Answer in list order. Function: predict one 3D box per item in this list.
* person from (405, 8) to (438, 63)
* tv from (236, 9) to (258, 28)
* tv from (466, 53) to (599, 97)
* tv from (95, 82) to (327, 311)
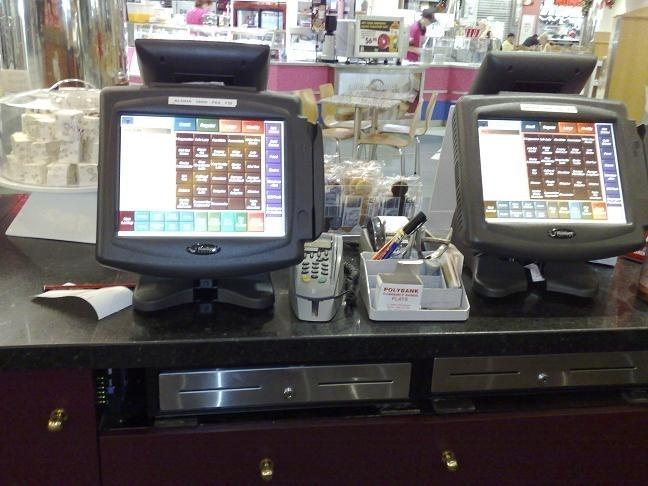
[{"bbox_3d":[1.597,-3.433,8.945,0.325,0.778,1.084,8,24,14],"label":"person"},{"bbox_3d":[-1.402,-4.103,9.867,0.418,0.267,0.113,-2,25,-8],"label":"tv"},{"bbox_3d":[0.576,-0.466,1.491,0.330,0.114,0.130,-5,24,-14],"label":"tv"},{"bbox_3d":[-0.256,-0.101,1.199,0.591,0.514,0.310,0,0,-4],"label":"tv"}]
